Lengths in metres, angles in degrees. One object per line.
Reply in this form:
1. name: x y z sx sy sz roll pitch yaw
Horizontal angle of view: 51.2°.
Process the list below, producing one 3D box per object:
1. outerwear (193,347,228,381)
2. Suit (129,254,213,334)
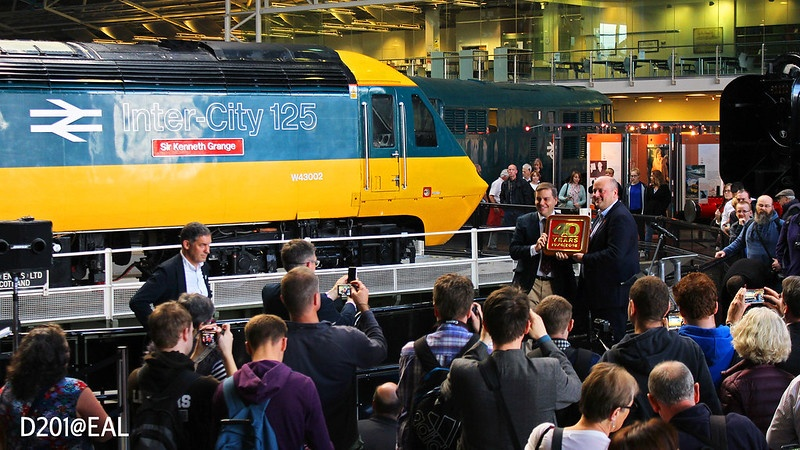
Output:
1. outerwear: -2.053 1.511 9.124 0.426 0.348 0.231 0 -8 31
2. Suit: -2.864 0.848 10.413 0.785 0.970 0.696 -1 -2 -43
